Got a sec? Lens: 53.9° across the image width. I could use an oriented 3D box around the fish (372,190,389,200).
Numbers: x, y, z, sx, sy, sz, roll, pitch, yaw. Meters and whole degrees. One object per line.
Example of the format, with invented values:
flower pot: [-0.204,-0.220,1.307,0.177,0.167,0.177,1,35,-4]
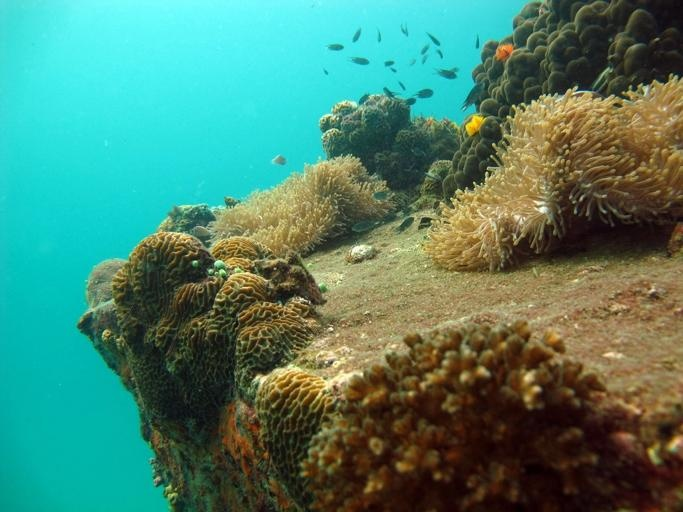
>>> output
fish: [0.673,-1.012,11.197,0.244,0.169,0.140,-31,6,1]
